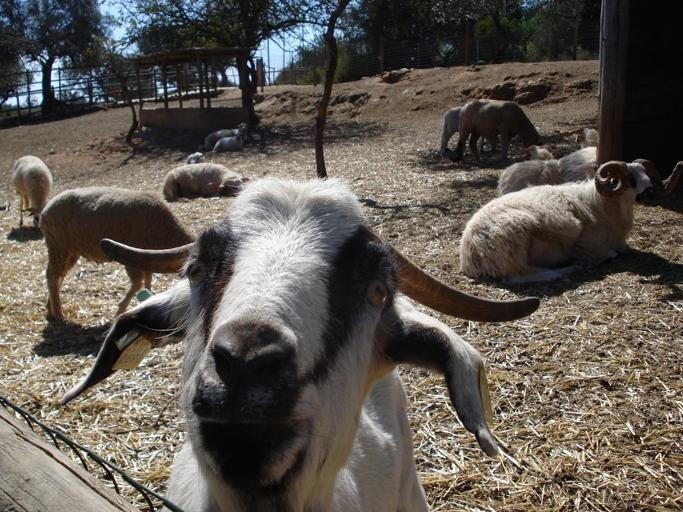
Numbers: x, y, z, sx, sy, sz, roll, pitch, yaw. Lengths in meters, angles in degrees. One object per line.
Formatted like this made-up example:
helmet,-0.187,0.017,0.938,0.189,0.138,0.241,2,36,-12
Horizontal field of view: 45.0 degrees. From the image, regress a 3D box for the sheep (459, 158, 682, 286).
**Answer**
sheep,3.257,-0.282,12.038,3.184,1.394,1.661,-11,25,3
